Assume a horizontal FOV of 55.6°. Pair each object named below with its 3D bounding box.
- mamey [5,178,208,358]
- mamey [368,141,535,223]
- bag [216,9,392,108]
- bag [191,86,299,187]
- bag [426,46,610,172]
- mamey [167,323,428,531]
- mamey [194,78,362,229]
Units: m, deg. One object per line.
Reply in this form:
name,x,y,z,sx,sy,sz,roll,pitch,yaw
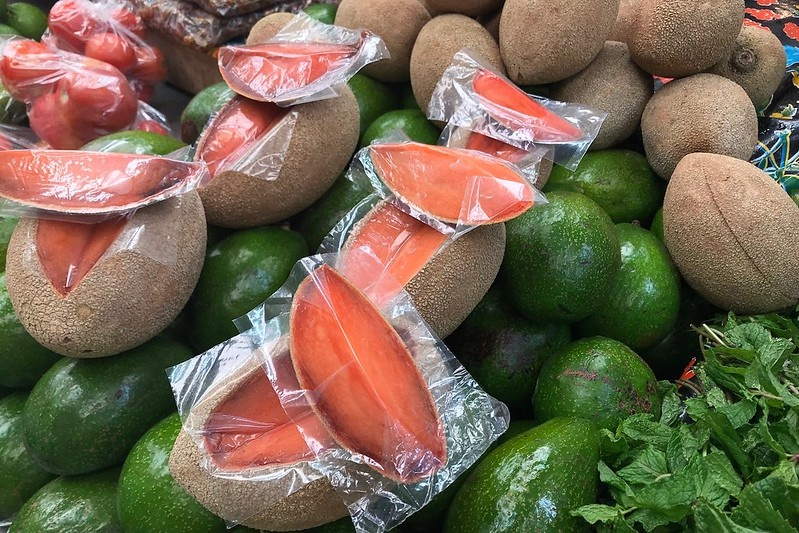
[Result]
mamey,-0.480,0.035,1.342,0.231,0.186,0.313,26,69,8
mamey,0.129,-0.139,1.358,0.374,0.191,0.151,-6,86,-37
bag,-0.179,-0.380,1.399,0.217,0.066,0.213,-24,47,-16
bag,-0.277,-0.223,1.350,0.153,0.052,0.164,22,72,21
bag,0.216,-0.304,1.425,0.325,0.087,0.198,21,44,31
mamey,-0.166,0.246,1.175,0.291,0.190,0.237,-2,49,-29
mamey,-0.201,-0.170,1.428,0.173,0.213,0.287,48,63,-8
